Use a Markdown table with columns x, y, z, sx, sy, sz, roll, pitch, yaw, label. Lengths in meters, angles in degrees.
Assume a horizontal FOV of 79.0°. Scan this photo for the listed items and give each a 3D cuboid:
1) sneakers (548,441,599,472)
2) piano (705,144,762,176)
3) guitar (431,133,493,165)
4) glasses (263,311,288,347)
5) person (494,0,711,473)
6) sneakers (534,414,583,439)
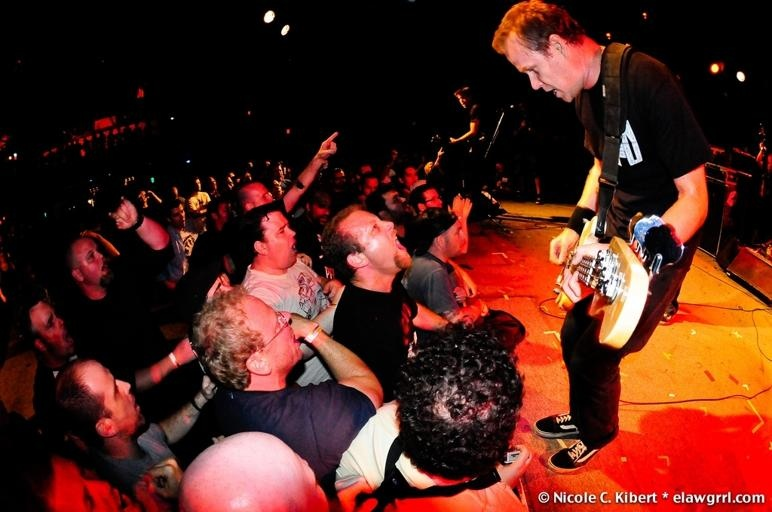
| x | y | z | sx | sy | sz | roll | pitch | yaw | label |
| --- | --- | --- | --- | --- | --- | --- | --- | --- | --- |
| 1.514 | 1.632 | 3.777 | 0.355 | 0.129 | 0.123 | -30 | 37 | 15 | sneakers |
| 4.957 | -1.352 | 6.637 | 0.295 | 0.291 | 0.834 | 3 | 22 | 0 | piano |
| 1.565 | -2.424 | 10.547 | 1.539 | 0.401 | 1.087 | 0 | 10 | 23 | guitar |
| -0.741 | 0.516 | 3.287 | 0.054 | 0.186 | 0.179 | 43 | 15 | -12 | glasses |
| 1.567 | -0.054 | 3.654 | 0.907 | 3.472 | 1.422 | -15 | 29 | -36 | person |
| 1.453 | 1.477 | 4.060 | 0.415 | 0.146 | 0.159 | 2 | 33 | 7 | sneakers |
